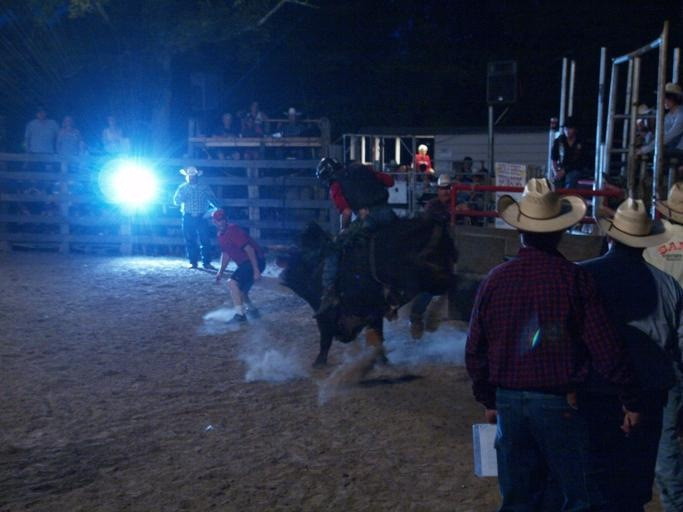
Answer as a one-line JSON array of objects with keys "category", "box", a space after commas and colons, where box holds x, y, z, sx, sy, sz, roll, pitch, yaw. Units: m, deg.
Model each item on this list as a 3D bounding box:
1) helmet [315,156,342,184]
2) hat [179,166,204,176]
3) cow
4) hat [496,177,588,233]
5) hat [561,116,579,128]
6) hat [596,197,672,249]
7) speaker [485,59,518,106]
[{"category": "helmet", "box": [-0.170, -1.105, 7.504, 0.332, 0.321, 0.288, -1, 21, 26]}, {"category": "hat", "box": [-3.600, -2.042, 14.208, 0.440, 0.169, 0.439, -1, 4, -29]}, {"category": "cow", "box": [0.175, 0.477, 7.638, 2.800, 1.916, 1.035, -12, -20, 40]}, {"category": "hat", "box": [1.283, -0.382, 3.831, 0.521, 0.236, 0.623, -7, 21, 9]}, {"category": "hat", "box": [3.962, -2.308, 10.267, 0.188, 0.238, 0.237, -8, 15, -31]}, {"category": "hat", "box": [1.976, -0.259, 3.980, 0.493, 0.225, 0.577, 2, 18, 1]}, {"category": "speaker", "box": [4.012, -4.185, 14.754, 0.749, 1.103, 0.626, 0, -9, 23]}]
